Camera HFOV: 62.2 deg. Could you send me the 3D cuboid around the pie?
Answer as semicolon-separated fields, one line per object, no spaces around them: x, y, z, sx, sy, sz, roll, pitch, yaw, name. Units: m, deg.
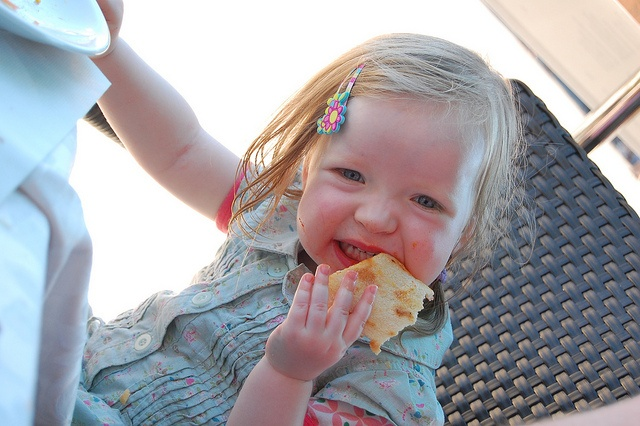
0.139;0.223;1.365;0.259;0.247;0.075;56;-8;-11;pie
